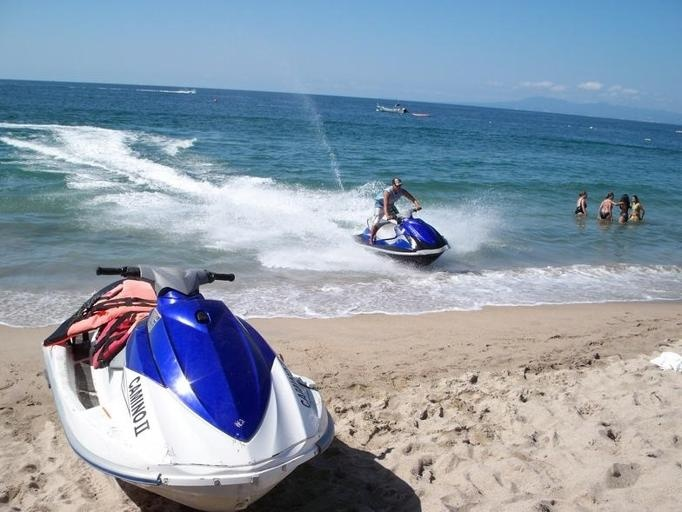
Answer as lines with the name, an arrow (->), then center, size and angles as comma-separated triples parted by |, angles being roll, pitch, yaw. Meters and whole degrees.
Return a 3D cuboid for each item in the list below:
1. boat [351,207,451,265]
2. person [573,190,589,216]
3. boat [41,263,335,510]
boat -> 1.520, -0.484, 14.776 | 1.850, 1.132, 3.189 | 3, -3, 9
person -> 7.715, -1.701, 19.578 | 0.343, 0.781, 0.644 | 4, 16, 15
boat -> -1.886, 1.405, 6.718 | 3.055, 2.360, 1.933 | 11, 19, 38
